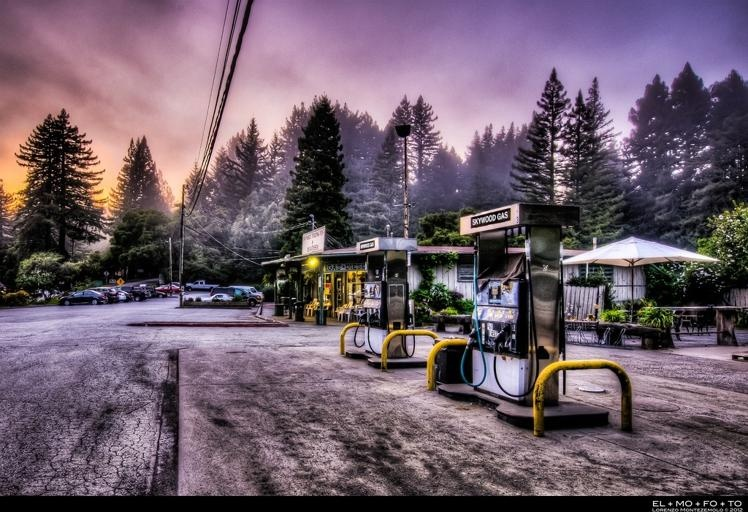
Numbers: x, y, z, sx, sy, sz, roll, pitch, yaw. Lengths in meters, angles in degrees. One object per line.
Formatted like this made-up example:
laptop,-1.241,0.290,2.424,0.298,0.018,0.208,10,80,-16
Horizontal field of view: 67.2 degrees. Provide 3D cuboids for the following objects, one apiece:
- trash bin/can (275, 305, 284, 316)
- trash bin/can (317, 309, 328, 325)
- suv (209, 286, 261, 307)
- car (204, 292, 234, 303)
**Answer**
trash bin/can,-5.275,3.002,31.255,0.519,0.591,0.544,0,0,-11
trash bin/can,-2.375,2.720,25.231,0.397,0.675,0.752,-2,8,-14
suv,-11.993,3.874,48.503,4.165,1.849,2.077,-2,3,-4
car,-13.074,3.569,47.579,2.501,0.917,1.222,7,-8,-13
